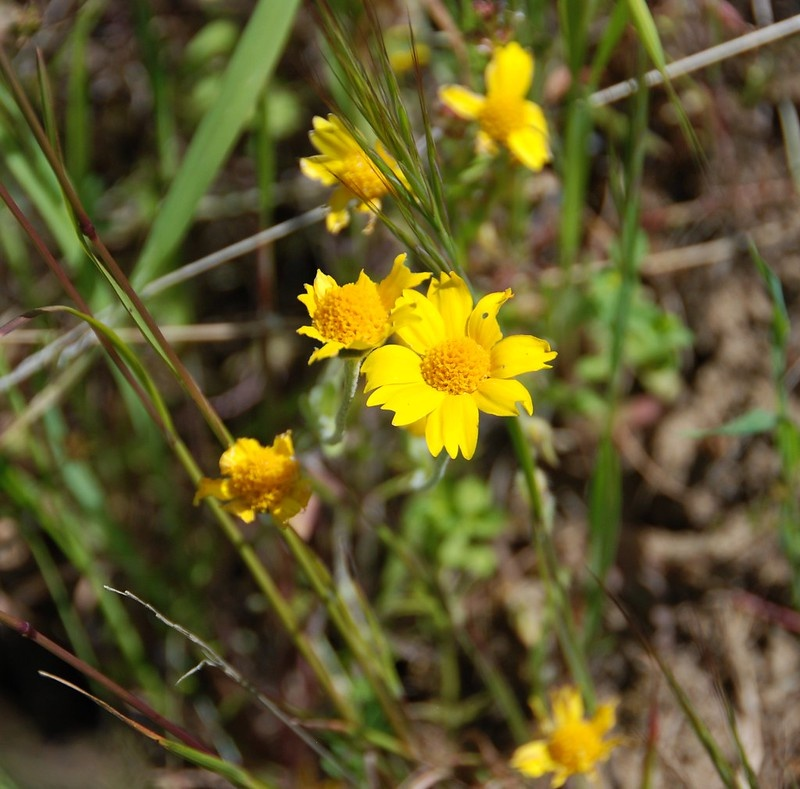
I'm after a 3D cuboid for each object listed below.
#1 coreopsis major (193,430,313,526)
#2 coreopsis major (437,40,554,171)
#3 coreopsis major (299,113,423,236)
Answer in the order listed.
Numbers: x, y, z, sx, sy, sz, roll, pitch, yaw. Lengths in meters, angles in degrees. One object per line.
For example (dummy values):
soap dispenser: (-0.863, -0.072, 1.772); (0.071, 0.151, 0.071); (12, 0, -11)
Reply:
coreopsis major: (-0.224, 0.138, 1.370); (0.123, 0.175, 0.183); (-4, 20, -9)
coreopsis major: (0.178, -0.530, 1.668); (0.192, 0.150, 0.293); (-5, 75, 4)
coreopsis major: (-0.090, -0.369, 1.465); (0.092, 0.220, 0.220); (8, 59, 32)
